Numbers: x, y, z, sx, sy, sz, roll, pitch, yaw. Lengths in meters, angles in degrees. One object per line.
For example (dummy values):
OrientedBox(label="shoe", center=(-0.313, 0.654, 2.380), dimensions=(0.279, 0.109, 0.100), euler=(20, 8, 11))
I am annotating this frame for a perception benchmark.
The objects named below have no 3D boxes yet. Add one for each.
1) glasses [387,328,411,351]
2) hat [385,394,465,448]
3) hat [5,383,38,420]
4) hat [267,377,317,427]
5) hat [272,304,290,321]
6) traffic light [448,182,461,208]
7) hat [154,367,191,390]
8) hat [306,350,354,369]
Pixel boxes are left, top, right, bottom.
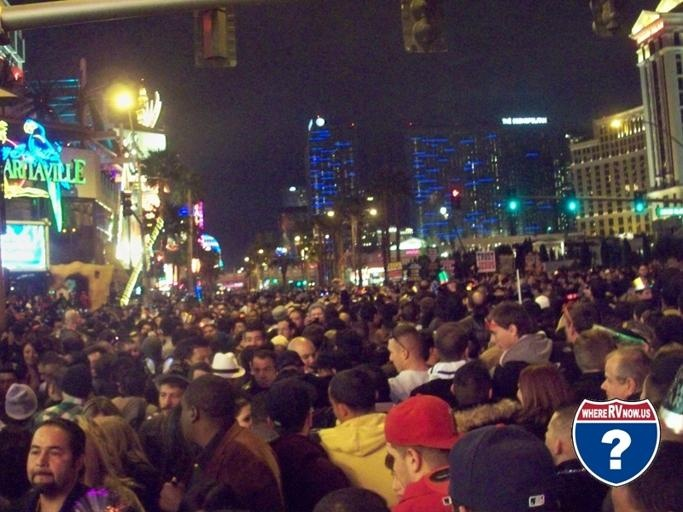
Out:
OrientedBox(label="glasses", center=(0.653, 0.928, 7.472), dimensions=(0.062, 0.213, 0.205), euler=(34, 9, 0))
OrientedBox(label="hat", center=(0.535, 1.109, 4.416), dimensions=(0.474, 0.317, 0.301), euler=(-3, -1, 10))
OrientedBox(label="hat", center=(-3.429, 1.557, 7.161), dimensions=(0.286, 0.409, 0.146), euler=(-18, -24, -9))
OrientedBox(label="hat", center=(-0.438, 1.197, 5.447), dimensions=(0.402, 0.315, 0.694), euler=(-5, -40, -1))
OrientedBox(label="hat", center=(-1.401, 1.341, 16.236), dimensions=(0.527, 0.134, 0.542), euler=(-17, 26, -13))
OrientedBox(label="traffic light", center=(4.246, -2.221, 24.578), dimensions=(0.412, 0.869, 1.085), euler=(-3, -1, 10))
OrientedBox(label="hat", center=(-1.842, 1.314, 7.082), dimensions=(0.296, 0.096, 0.314), euler=(7, 8, 18))
OrientedBox(label="hat", center=(-0.104, 1.227, 7.784), dimensions=(0.296, 0.171, 0.213), euler=(4, -8, 5))
